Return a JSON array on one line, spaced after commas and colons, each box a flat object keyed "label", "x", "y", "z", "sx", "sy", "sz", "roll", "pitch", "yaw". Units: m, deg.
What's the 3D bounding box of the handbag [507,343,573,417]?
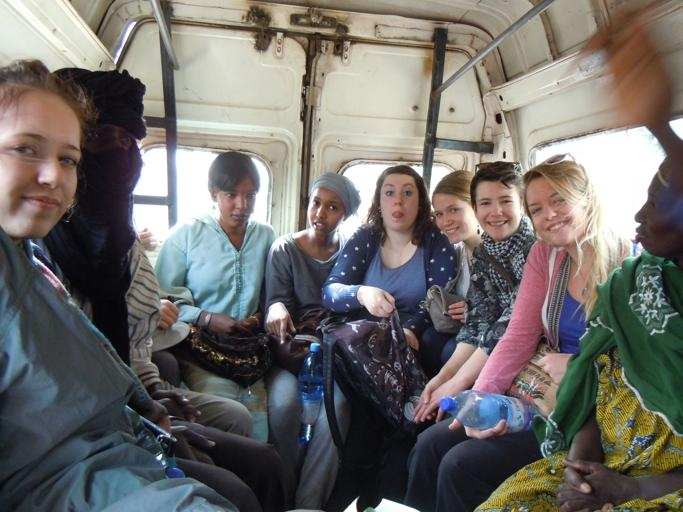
[{"label": "handbag", "x": 0.860, "y": 0.581, "z": 2.182, "sx": 0.259, "sy": 0.086, "sz": 0.288, "roll": 14, "pitch": 28, "yaw": 14}]

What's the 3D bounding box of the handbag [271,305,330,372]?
[{"label": "handbag", "x": -0.297, "y": 0.556, "z": 3.070, "sx": 0.142, "sy": 0.354, "sz": 0.391, "roll": 3, "pitch": 36, "yaw": 20}]

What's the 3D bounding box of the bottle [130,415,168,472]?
[{"label": "bottle", "x": -0.654, "y": 0.636, "z": 1.599, "sx": 0.050, "sy": 0.239, "sz": 0.131, "roll": -21, "pitch": 43, "yaw": -4}]

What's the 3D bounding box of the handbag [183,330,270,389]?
[{"label": "handbag", "x": -0.677, "y": 0.596, "z": 2.909, "sx": 0.411, "sy": 0.180, "sz": 0.319, "roll": 28, "pitch": 54, "yaw": -7}]

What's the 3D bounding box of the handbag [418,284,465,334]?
[{"label": "handbag", "x": 0.602, "y": 0.312, "z": 3.031, "sx": 0.151, "sy": 0.309, "sz": 0.324, "roll": 3, "pitch": 6, "yaw": 21}]
